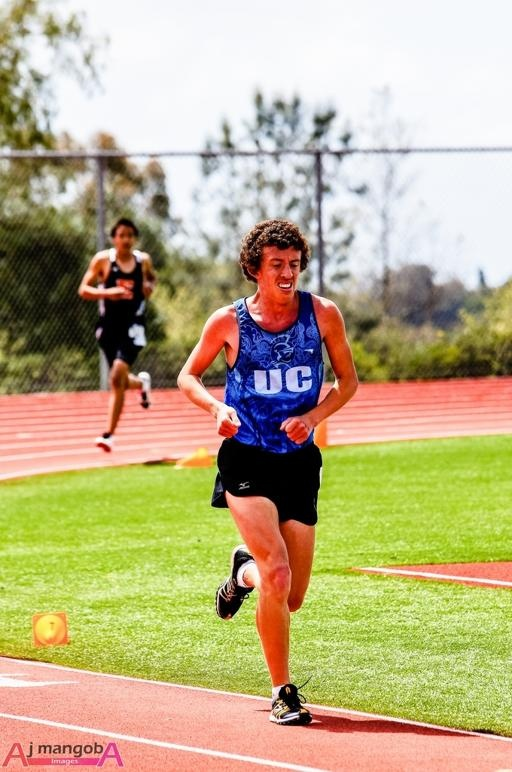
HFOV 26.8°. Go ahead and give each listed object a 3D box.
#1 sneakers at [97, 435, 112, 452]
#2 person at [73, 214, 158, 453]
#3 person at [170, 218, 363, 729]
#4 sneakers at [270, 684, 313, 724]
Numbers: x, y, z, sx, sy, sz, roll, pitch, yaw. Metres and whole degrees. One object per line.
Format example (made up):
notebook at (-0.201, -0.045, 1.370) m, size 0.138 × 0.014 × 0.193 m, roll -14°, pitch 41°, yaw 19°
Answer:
sneakers at (-1.141, 0.425, 8.124) m, size 0.090 × 0.119 × 0.163 m, roll 6°, pitch -13°, yaw -9°
person at (-1.063, -0.387, 8.161) m, size 0.450 × 1.753 × 0.626 m, roll 2°, pitch 3°, yaw 18°
person at (0.020, 0.141, 3.051) m, size 0.517 × 1.248 × 0.568 m, roll 1°, pitch 3°, yaw 4°
sneakers at (0.089, 0.810, 2.743) m, size 0.058 × 0.070 × 0.139 m, roll 4°, pitch -11°, yaw -17°
